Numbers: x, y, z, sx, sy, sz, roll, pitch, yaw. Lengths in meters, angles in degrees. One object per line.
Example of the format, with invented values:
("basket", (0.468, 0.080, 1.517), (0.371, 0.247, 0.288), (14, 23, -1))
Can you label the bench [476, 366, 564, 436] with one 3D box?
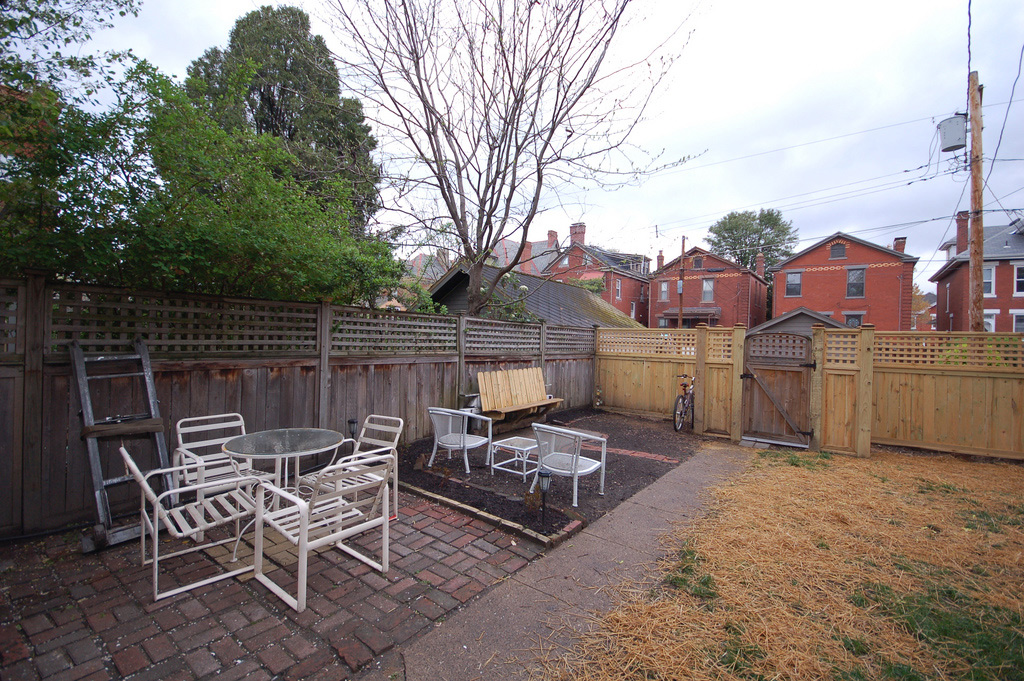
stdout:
("bench", (0.162, 0.956, 10.569), (0.553, 0.893, 1.844), (8, 7, 37))

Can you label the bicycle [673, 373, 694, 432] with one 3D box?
("bicycle", (3.286, 1.147, 12.079), (0.348, 0.997, 0.956), (0, 2, 15))
